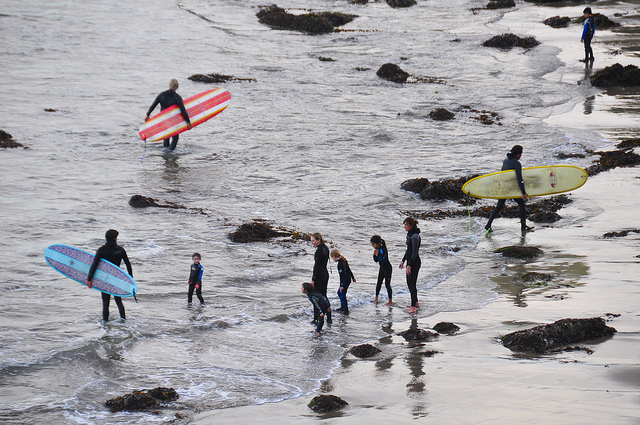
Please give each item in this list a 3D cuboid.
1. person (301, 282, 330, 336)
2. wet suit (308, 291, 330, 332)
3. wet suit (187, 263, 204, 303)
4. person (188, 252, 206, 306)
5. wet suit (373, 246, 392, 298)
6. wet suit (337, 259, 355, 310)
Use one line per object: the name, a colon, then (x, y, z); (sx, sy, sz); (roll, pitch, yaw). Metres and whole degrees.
person: (-0.138, 3.686, 46.830); (0.996, 2.008, 0.821); (-3, 9, -11)
wet suit: (-0.057, 3.792, 46.816); (0.795, 1.564, 0.447); (-2, 9, -1)
wet suit: (-4.864, 2.758, 47.776); (0.598, 1.591, 0.436); (-6, 10, -24)
person: (-4.864, 2.614, 47.864); (0.683, 2.048, 0.560); (-3, 9, -5)
wet suit: (2.442, 2.348, 48.161); (0.655, 2.091, 0.482); (-2, 9, 1)
wet suit: (0.975, 2.794, 47.688); (0.626, 2.005, 0.521); (-2, 9, 0)
